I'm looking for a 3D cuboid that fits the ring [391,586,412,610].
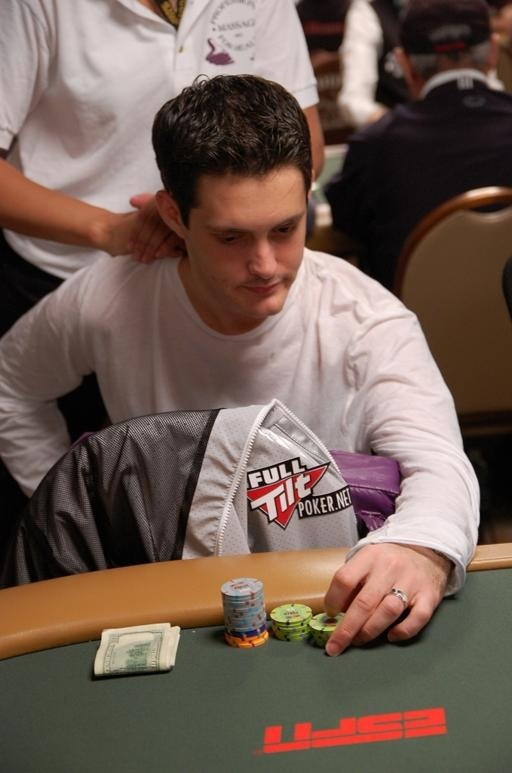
[{"bbox_3d":[0.154,0.226,0.683,0.008,0.020,0.018,-35,-5,8],"label":"ring"}]
